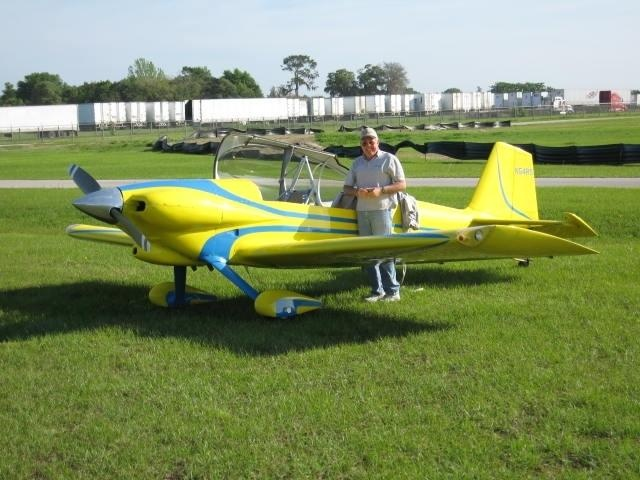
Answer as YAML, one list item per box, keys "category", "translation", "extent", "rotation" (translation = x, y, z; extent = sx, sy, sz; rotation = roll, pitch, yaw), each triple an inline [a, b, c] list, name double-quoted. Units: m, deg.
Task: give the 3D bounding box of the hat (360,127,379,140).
- category: "hat"
  translation: [0.565, -1.246, 8.086]
  extent: [0.150, 0.095, 0.197]
  rotation: [-2, -6, 3]

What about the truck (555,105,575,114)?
- category: "truck"
  translation: [25.631, -13.656, 72.889]
  extent: [2.595, 0.837, 3.501]
  rotation: [-1, 8, 11]
